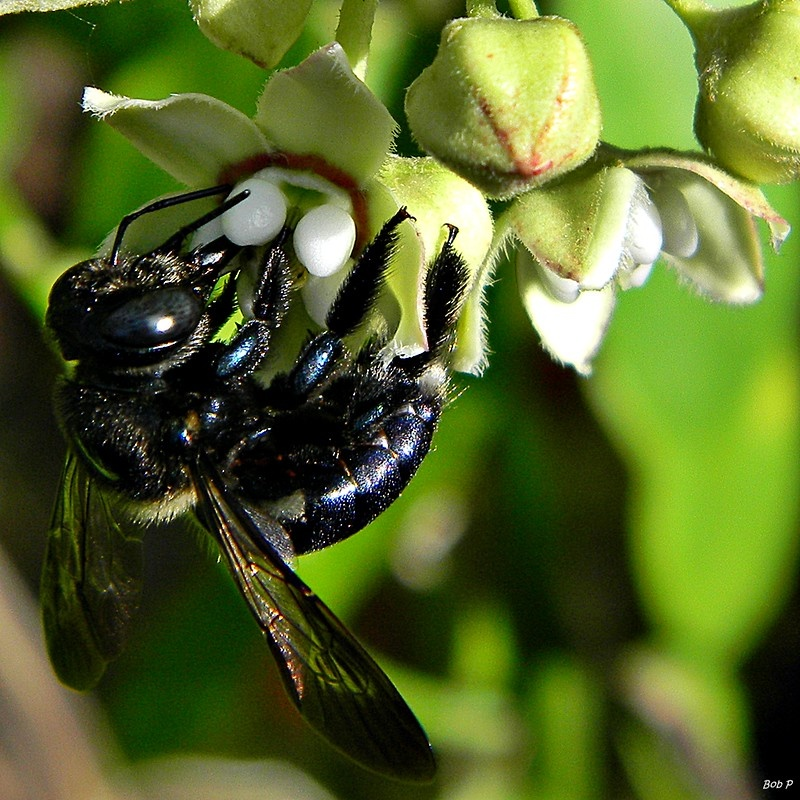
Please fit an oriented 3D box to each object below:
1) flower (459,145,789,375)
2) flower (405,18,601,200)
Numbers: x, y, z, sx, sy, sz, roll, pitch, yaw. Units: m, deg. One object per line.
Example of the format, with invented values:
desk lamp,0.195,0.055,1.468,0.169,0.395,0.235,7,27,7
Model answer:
flower,0.315,-0.230,1.404,0.306,0.343,0.160,-29,70,-16
flower,0.123,-0.313,1.317,0.194,0.187,0.127,-22,7,4
